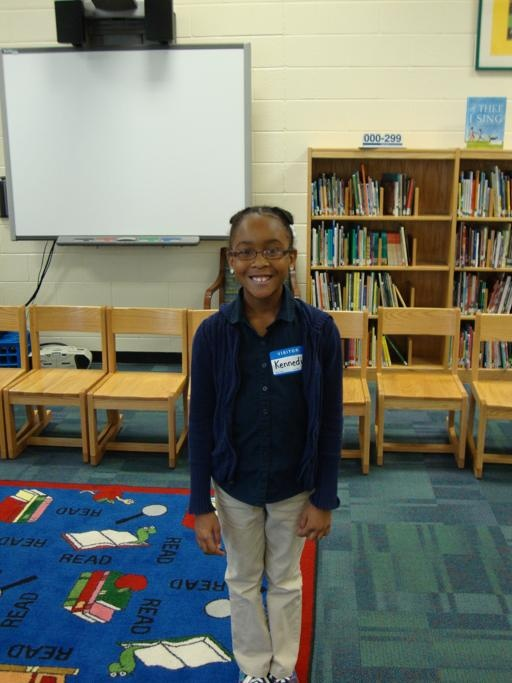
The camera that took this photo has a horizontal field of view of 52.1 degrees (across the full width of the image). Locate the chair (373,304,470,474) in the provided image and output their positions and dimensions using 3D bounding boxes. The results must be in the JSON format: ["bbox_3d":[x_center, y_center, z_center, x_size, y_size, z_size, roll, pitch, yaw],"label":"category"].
[{"bbox_3d":[0.851,0.226,2.727,0.556,0.705,0.580,-2,12,-3],"label":"chair"}]

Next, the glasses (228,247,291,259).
[{"bbox_3d":[0.008,-0.154,0.923,0.102,0.023,0.051,1,7,-2],"label":"glasses"}]
